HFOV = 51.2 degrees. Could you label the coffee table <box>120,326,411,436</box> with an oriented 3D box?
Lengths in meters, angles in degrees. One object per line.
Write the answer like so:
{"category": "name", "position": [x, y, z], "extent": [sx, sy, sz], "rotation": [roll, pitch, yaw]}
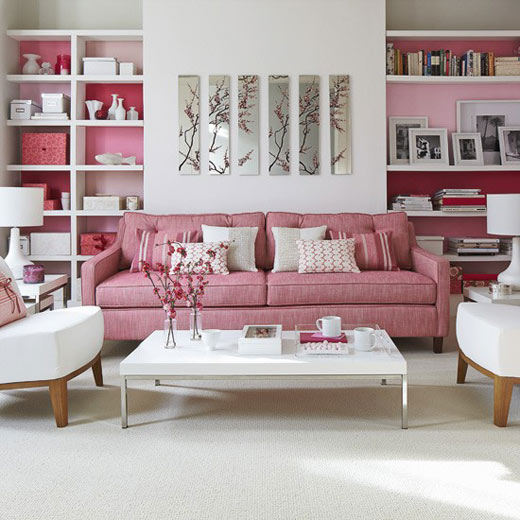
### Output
{"category": "coffee table", "position": [0.026, 0.534, 2.596], "extent": [1.300, 0.392, 0.483], "rotation": [0, 8, 3]}

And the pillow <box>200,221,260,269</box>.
{"category": "pillow", "position": [-0.217, -0.091, 3.917], "extent": [0.362, 0.287, 0.122], "rotation": [0, -23, 1]}

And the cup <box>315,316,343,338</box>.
{"category": "cup", "position": [0.343, 0.334, 2.676], "extent": [0.128, 0.082, 0.090], "rotation": [-1, 1, 0]}

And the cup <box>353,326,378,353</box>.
{"category": "cup", "position": [0.490, 0.375, 2.518], "extent": [0.078, 0.075, 0.118], "rotation": [-1, 3, -5]}

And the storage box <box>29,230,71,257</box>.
{"category": "storage box", "position": [-1.948, -0.141, 5.046], "extent": [0.423, 0.245, 0.216], "rotation": [1, 5, -2]}

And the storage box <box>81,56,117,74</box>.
{"category": "storage box", "position": [-1.494, -1.791, 5.007], "extent": [0.220, 0.124, 0.210], "rotation": [-2, 8, -16]}

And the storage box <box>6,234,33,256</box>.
{"category": "storage box", "position": [-2.216, -0.135, 4.958], "extent": [0.210, 0.187, 0.198], "rotation": [-1, -1, -6]}

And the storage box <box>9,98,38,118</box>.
{"category": "storage box", "position": [-2.197, -1.386, 5.009], "extent": [0.176, 0.136, 0.294], "rotation": [0, 8, -2]}

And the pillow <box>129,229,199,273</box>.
{"category": "pillow", "position": [-0.739, -0.080, 4.147], "extent": [0.553, 0.151, 0.558], "rotation": [3, -36, -12]}

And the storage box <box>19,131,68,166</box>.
{"category": "storage box", "position": [-2.017, -1.023, 5.092], "extent": [0.543, 0.331, 0.280], "rotation": [0, 6, -1]}

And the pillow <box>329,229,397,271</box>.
{"category": "pillow", "position": [0.767, -0.058, 4.024], "extent": [0.519, 0.318, 0.182], "rotation": [0, -4, -12]}

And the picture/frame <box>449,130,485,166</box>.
{"category": "picture/frame", "position": [1.962, -1.040, 5.099], "extent": [0.397, 0.436, 0.033], "rotation": [1, -17, -4]}

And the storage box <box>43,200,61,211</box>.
{"category": "storage box", "position": [-1.978, -0.534, 5.126], "extent": [0.112, 0.089, 0.209], "rotation": [0, 3, -2]}

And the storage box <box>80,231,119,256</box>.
{"category": "storage box", "position": [-1.524, -0.155, 5.035], "extent": [0.335, 0.145, 0.223], "rotation": [0, 1, -3]}

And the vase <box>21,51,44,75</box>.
{"category": "vase", "position": [-2.187, -1.852, 5.178], "extent": [0.178, 0.227, 0.328], "rotation": [-3, 8, -20]}

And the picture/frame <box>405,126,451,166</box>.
{"category": "picture/frame", "position": [1.571, -1.051, 5.083], "extent": [0.448, 0.400, 0.044], "rotation": [1, -12, -1]}
